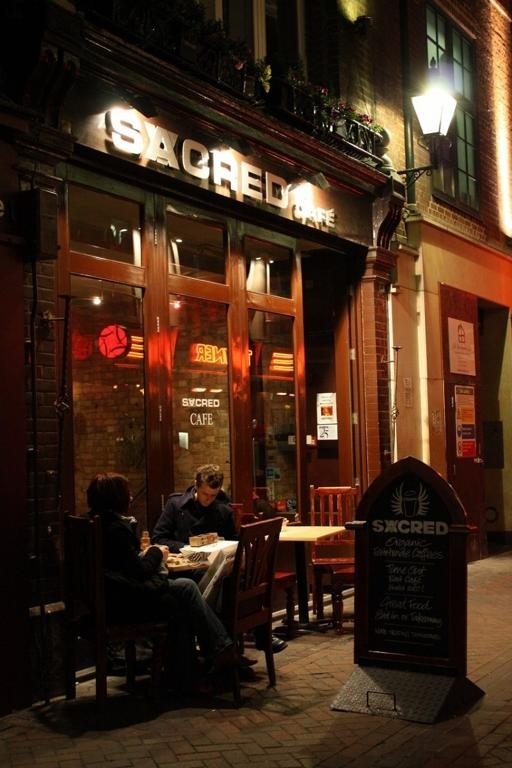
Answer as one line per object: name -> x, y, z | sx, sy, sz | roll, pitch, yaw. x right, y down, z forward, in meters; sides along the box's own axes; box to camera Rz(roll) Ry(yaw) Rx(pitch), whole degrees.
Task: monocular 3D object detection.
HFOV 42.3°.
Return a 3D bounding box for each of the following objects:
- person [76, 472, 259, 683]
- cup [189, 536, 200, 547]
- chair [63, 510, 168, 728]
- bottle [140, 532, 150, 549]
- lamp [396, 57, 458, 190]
person -> -0.544, 1.104, 3.878 | 0.688, 1.293, 0.499 | -11, 2, -3
cup -> -0.412, 1.041, 4.379 | 0.090, 0.069, 0.053 | 0, 0, 7
chair -> -0.816, 1.254, 3.797 | 0.487, 1.032, 0.517 | 0, -7, -27
bottle -> -0.755, 1.052, 4.438 | 0.079, 0.124, 0.085 | 2, -8, 0
lamp -> 2.374, -3.447, 8.393 | 0.714, 1.442, 0.382 | -22, 27, -27
